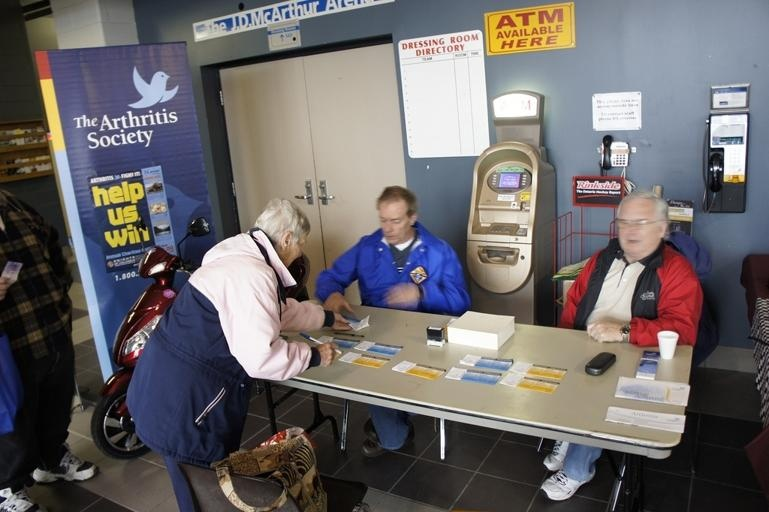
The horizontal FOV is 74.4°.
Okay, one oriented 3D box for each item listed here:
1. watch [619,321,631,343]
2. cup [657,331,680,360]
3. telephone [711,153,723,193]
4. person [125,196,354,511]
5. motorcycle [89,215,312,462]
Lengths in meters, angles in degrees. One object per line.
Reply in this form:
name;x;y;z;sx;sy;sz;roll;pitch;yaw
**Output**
watch;1.378;0.436;2.914;0.062;0.097;0.099;12;59;20
cup;1.512;0.480;2.704;0.128;0.145;0.134;0;-1;0
telephone;2.602;-0.661;3.975;0.096;0.299;0.035;5;20;31
person;-0.799;0.545;2.665;1.066;1.548;0.464;-13;19;-25
motorcycle;-1.448;0.542;4.480;2.239;1.532;1.124;-18;7;-32
